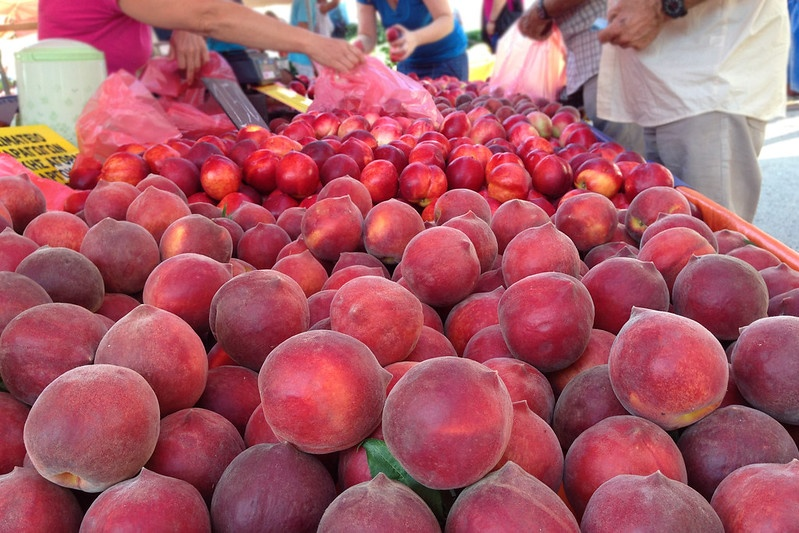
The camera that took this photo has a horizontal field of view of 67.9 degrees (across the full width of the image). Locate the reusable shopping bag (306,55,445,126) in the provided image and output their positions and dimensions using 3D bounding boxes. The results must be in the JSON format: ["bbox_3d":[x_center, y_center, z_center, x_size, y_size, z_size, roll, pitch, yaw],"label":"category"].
[{"bbox_3d":[-0.169,-1.159,3.993,0.604,0.266,0.645,11,24,-15],"label":"reusable shopping bag"}]

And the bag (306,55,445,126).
[{"bbox_3d":[-0.196,-1.157,3.992,0.604,0.266,0.645,11,24,-15],"label":"bag"}]

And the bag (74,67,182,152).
[{"bbox_3d":[-1.538,-0.858,3.426,0.520,0.232,0.520,0,72,-22],"label":"bag"}]
